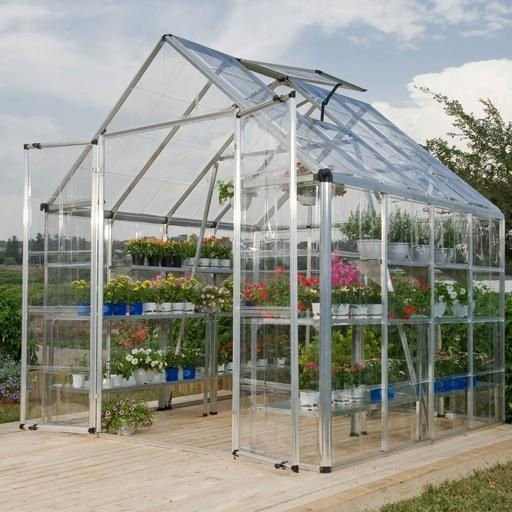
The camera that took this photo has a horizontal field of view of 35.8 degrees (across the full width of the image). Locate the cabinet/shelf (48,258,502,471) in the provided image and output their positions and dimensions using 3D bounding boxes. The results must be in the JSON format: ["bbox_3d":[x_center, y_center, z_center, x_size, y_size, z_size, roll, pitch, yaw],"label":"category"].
[{"bbox_3d":[0.932,0.968,7.965,2.791,1.248,2.822,-2,-3,43],"label":"cabinet/shelf"}]

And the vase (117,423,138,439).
[{"bbox_3d":[-1.299,1.757,7.936,0.142,0.081,0.124,2,-2,-39],"label":"vase"}]

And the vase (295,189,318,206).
[{"bbox_3d":[0.433,-0.501,6.860,0.131,0.088,0.138,2,-5,-32],"label":"vase"}]

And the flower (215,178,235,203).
[{"bbox_3d":[-0.400,-0.785,9.871,0.192,0.287,0.474,-1,1,-3],"label":"flower"}]

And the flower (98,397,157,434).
[{"bbox_3d":[-1.357,1.603,8.036,0.404,0.257,0.400,-3,-5,33],"label":"flower"}]

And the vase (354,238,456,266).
[{"bbox_3d":[1.411,0.028,7.625,1.548,0.198,0.327,3,-2,-44],"label":"vase"}]

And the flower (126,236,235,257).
[{"bbox_3d":[-0.958,-0.052,9.846,1.511,0.307,0.394,5,-8,-43],"label":"flower"}]
